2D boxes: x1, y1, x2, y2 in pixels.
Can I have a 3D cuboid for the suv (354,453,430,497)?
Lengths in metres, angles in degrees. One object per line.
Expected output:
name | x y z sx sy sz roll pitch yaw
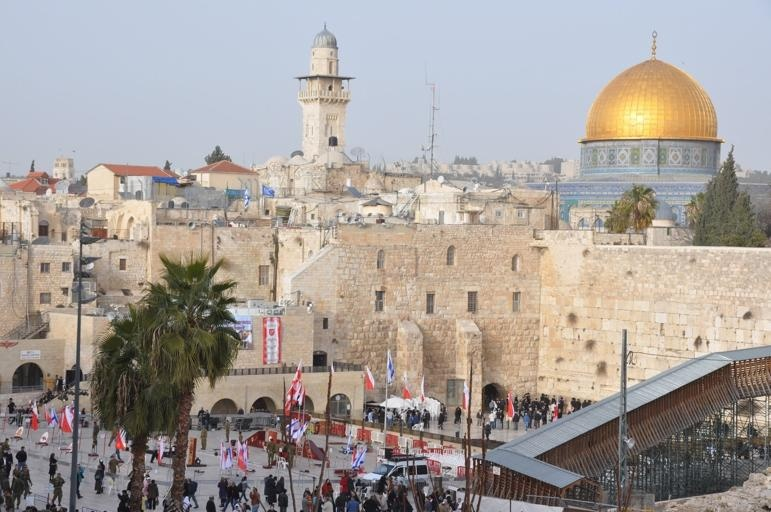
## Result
suv | 0.274 7.725 60.034 2.506 1.437 1.612 3 -5 -1
